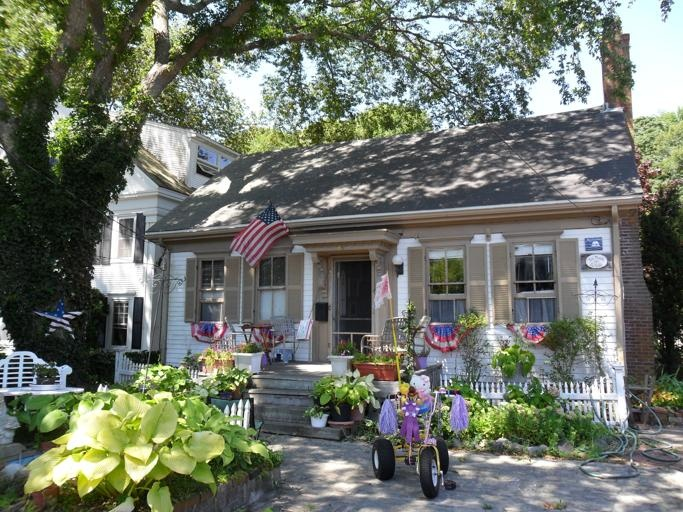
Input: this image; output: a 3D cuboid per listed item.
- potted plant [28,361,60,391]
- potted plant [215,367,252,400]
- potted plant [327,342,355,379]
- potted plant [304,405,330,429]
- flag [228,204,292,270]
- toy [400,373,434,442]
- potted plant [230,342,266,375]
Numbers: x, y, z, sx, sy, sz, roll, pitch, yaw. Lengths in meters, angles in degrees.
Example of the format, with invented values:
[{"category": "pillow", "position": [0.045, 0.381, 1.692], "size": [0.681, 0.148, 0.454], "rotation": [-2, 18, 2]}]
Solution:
[{"category": "potted plant", "position": [-5.565, 2.270, 10.024], "size": [0.503, 0.512, 0.468], "rotation": [0, -14, -7]}, {"category": "potted plant", "position": [-2.431, 2.777, 11.665], "size": [0.657, 0.521, 0.697], "rotation": [-2, -9, 15]}, {"category": "potted plant", "position": [0.041, 2.309, 11.776], "size": [0.592, 0.879, 0.587], "rotation": [-1, -3, 28]}, {"category": "potted plant", "position": [-0.449, 3.302, 11.030], "size": [0.402, 0.317, 0.423], "rotation": [-2, -10, 17]}, {"category": "flag", "position": [-2.217, -0.544, 14.618], "size": [1.170, 1.909, 1.199], "rotation": [1, -4, 31]}, {"category": "toy", "position": [1.140, 2.364, 8.171], "size": [0.483, 1.020, 0.280], "rotation": [-1, -9, 6]}, {"category": "potted plant", "position": [-2.230, 2.411, 12.766], "size": [0.535, 0.670, 0.787], "rotation": [-2, -7, 27]}]
